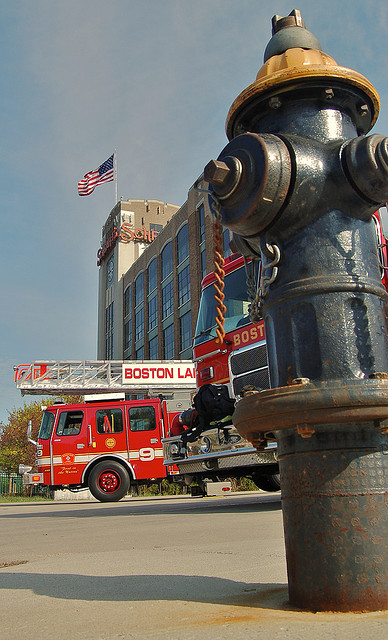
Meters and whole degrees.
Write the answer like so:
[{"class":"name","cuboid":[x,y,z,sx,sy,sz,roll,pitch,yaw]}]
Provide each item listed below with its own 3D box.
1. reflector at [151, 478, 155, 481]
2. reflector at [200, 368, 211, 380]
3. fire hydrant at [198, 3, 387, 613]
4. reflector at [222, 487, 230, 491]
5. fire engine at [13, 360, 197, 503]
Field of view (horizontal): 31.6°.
[{"class":"reflector","cuboid":[-0.875,3.325,14.365,0.076,0.068,0.020,-3,6,-8]},{"class":"reflector","cuboid":[0.152,0.690,8.796,0.081,0.126,0.143,12,-21,-30]},{"class":"fire hydrant","cuboid":[0.424,-0.211,2.499,0.735,2.341,0.501,-4,-12,-1]},{"class":"reflector","cuboid":[0.478,2.517,10.217,0.103,0.041,0.042,-2,-13,-24]},{"class":"fire engine","cuboid":[-0.807,2.213,15.254,5.991,2.892,2.030,-6,2,10]}]
